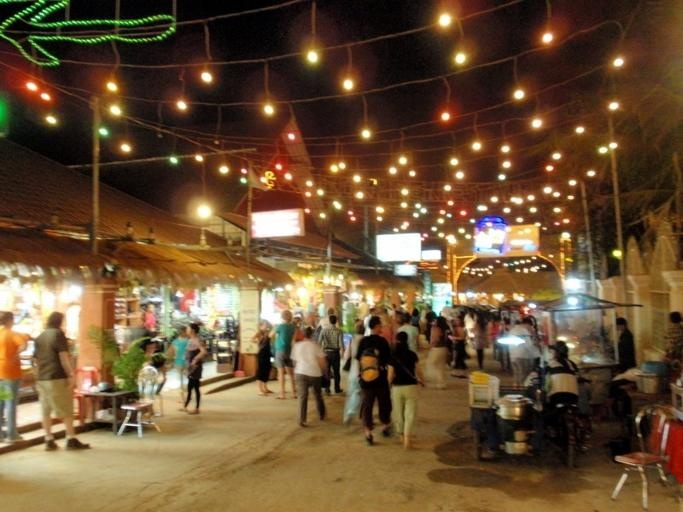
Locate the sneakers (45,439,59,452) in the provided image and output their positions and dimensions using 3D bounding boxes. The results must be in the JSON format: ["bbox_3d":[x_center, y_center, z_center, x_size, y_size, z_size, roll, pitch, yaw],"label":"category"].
[{"bbox_3d":[-5.684,3.711,12.529,0.276,0.201,0.194,8,-12,-34],"label":"sneakers"}]

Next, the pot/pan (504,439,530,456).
[{"bbox_3d":[3.155,3.493,11.618,0.481,0.135,0.319,0,-6,1],"label":"pot/pan"}]

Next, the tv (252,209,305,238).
[{"bbox_3d":[-2.126,-1.077,21.358,1.902,1.012,0.380,-1,3,1],"label":"tv"}]

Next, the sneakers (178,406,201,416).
[{"bbox_3d":[-3.706,3.783,15.553,0.591,0.203,0.173,10,-17,8],"label":"sneakers"}]

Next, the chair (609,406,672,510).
[{"bbox_3d":[4.887,3.147,10.458,0.827,1.541,1.615,1,5,26],"label":"chair"}]

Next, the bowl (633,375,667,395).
[{"bbox_3d":[5.944,2.499,12.437,0.418,0.255,0.421,-1,-5,0],"label":"bowl"}]

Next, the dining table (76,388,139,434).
[{"bbox_3d":[-5.026,3.374,14.129,1.138,0.740,1.069,-1,-2,25],"label":"dining table"}]

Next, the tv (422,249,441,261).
[{"bbox_3d":[5.869,-0.032,42.354,1.778,0.753,1.097,-2,0,18],"label":"tv"}]

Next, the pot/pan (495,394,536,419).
[{"bbox_3d":[3.112,2.756,11.592,0.524,0.194,0.631,-1,-4,8],"label":"pot/pan"}]

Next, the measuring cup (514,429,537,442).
[{"bbox_3d":[3.304,3.262,11.604,0.401,0.138,0.217,0,-5,8],"label":"measuring cup"}]

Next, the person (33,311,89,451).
[{"bbox_3d":[-5.605,2.474,12.675,0.798,2.717,0.852,-3,5,-24],"label":"person"}]

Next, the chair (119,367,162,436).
[{"bbox_3d":[-4.556,3.260,14.410,0.894,1.258,0.936,-3,0,18],"label":"chair"}]

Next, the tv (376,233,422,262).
[{"bbox_3d":[2.974,-0.465,33.734,2.004,1.045,0.184,0,-7,11],"label":"tv"}]

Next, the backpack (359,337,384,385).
[{"bbox_3d":[0.624,2.164,13.197,0.543,0.993,0.622,-1,5,2],"label":"backpack"}]
